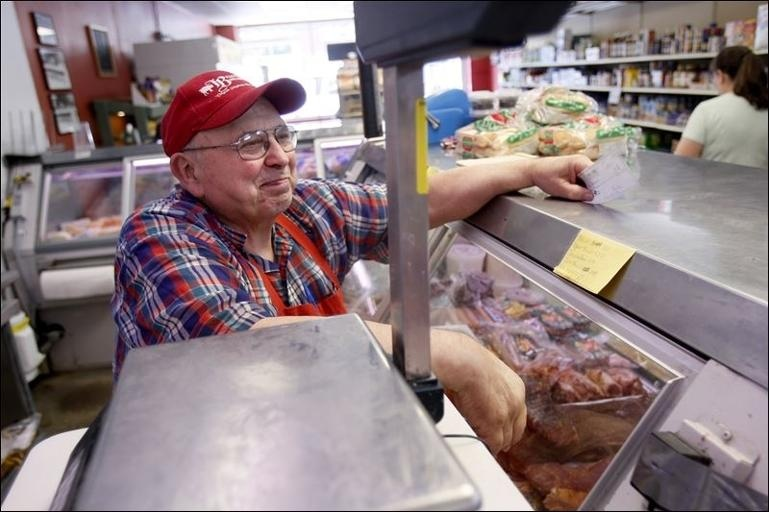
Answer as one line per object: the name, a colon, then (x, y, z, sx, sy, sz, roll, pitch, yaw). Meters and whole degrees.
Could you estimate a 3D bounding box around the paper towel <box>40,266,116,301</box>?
paper towel: (-2.233, 0.189, 3.504, 0.434, 0.170, 0.477, -1, 7, -16)
